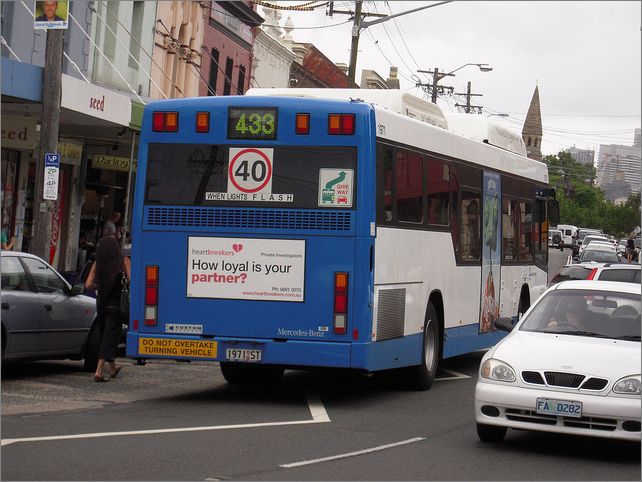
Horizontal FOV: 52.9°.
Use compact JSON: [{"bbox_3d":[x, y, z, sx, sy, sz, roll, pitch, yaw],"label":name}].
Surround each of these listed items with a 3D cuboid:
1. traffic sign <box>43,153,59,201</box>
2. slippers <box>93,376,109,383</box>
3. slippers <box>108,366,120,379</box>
[{"bbox_3d":[-5.896,-1.411,14.017,0.284,0.787,0.371,2,1,-26],"label":"traffic sign"},{"bbox_3d":[-3.506,2.185,10.259,0.249,0.114,0.095,2,1,-16],"label":"slippers"},{"bbox_3d":[-3.410,2.141,10.743,0.106,0.127,0.327,0,23,14],"label":"slippers"}]
